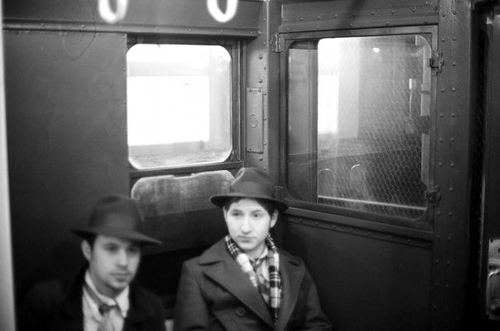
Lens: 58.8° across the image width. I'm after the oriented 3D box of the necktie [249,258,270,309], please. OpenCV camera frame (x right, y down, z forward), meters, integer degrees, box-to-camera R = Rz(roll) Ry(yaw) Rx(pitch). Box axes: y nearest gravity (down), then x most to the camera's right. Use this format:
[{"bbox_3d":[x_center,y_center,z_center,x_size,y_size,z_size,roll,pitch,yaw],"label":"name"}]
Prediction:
[{"bbox_3d":[0.075,0.941,3.540,0.163,0.350,0.152,2,11,-23],"label":"necktie"}]
